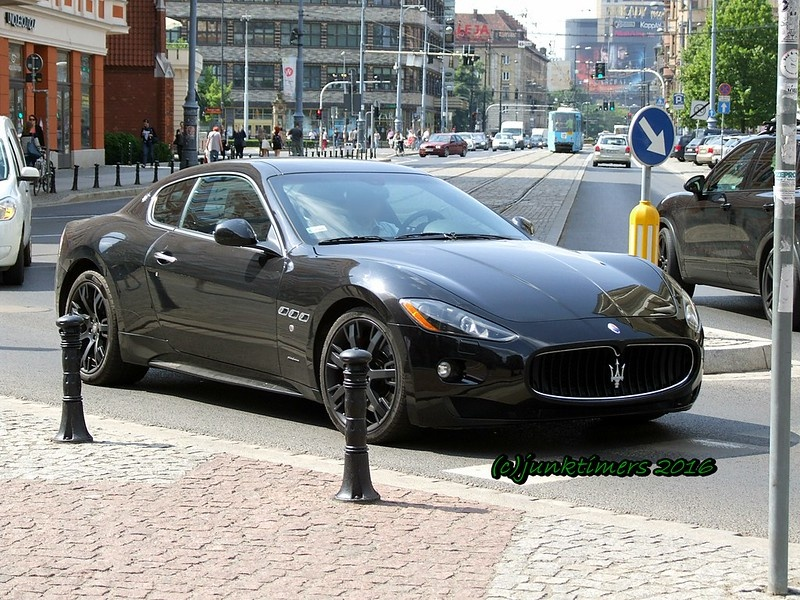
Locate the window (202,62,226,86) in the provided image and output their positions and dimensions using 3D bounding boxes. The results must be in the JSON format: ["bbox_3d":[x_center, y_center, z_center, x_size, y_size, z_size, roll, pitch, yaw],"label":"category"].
[{"bbox_3d":[-26.264,-31.840,118.680,3.442,3.386,5.775,1,3,-2],"label":"window"}]

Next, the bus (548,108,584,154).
[{"bbox_3d":[18.185,-18.807,92.874,3.204,4.764,5.681,2,3,13],"label":"bus"}]

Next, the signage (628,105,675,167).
[{"bbox_3d":[2.825,-1.831,9.491,0.469,0.740,0.326,1,13,2],"label":"signage"}]

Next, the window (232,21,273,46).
[{"bbox_3d":[-20.833,-37.976,120.476,5.882,3.309,0.194,3,8,2],"label":"window"}]

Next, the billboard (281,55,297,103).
[{"bbox_3d":[-8.284,-16.678,63.280,1.217,3.175,0.094,1,-9,-15],"label":"billboard"}]

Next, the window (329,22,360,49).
[{"bbox_3d":[-7.992,-37.646,120.794,4.444,2.741,0.291,0,6,4],"label":"window"}]

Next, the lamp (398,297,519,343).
[{"bbox_3d":[0.345,0.120,5.073,0.718,0.228,0.064,2,3,15],"label":"lamp"}]

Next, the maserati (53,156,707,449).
[{"bbox_3d":[-0.338,-0.098,6.159,4.428,1.953,1.867,3,4,35],"label":"maserati"}]
